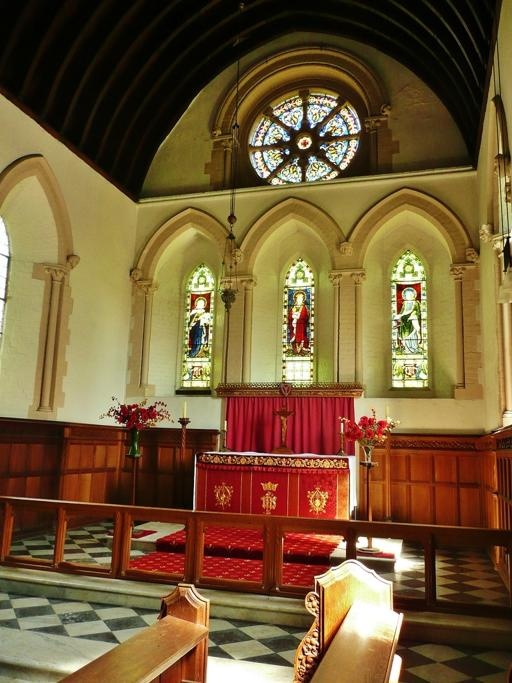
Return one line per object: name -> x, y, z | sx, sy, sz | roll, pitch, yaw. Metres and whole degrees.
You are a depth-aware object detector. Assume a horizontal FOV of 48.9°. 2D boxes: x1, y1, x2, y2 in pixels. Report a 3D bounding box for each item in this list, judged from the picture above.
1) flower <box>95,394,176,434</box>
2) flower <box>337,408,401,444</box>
flower -> -1.692, 1.078, 8.214 | 0.930, 0.564, 0.903 | 4, -6, -22
flower -> 1.542, 1.135, 7.523 | 0.776, 0.536, 0.701 | 6, -5, -22
